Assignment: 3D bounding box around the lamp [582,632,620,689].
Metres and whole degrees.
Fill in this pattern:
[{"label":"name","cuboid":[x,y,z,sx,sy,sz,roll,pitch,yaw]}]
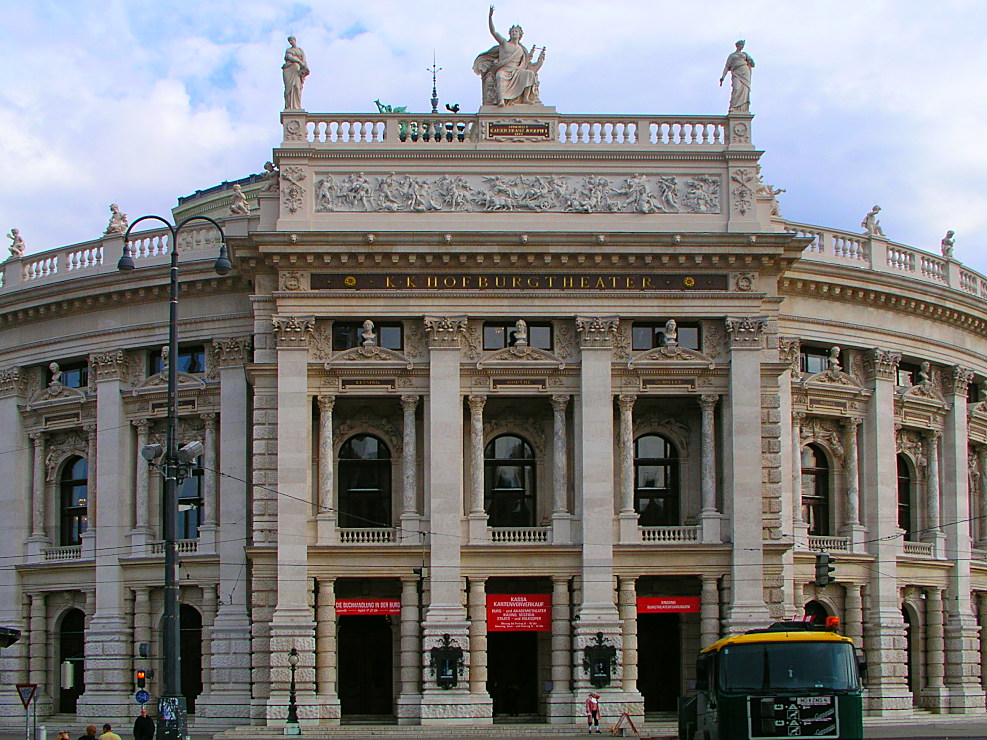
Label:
[{"label":"lamp","cuboid":[4.176,11.961,99.095,1.371,2.318,0.607,-1,-16,1]}]
